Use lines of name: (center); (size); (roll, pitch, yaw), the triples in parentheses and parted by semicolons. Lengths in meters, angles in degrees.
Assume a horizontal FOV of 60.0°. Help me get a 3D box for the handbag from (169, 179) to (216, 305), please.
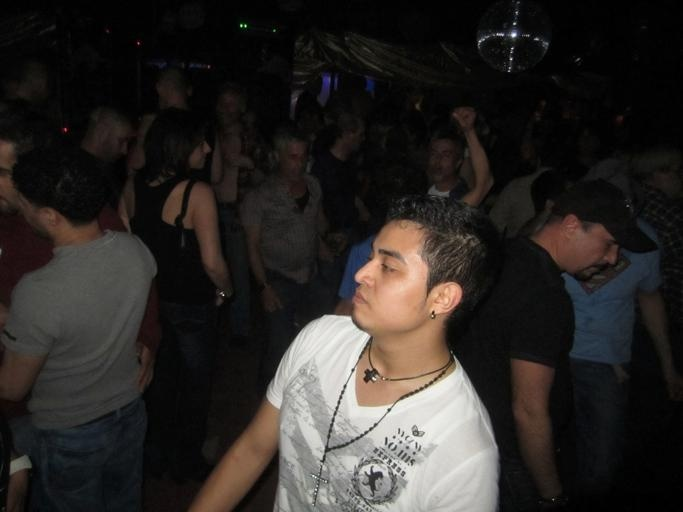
handbag: (-1.024, -0.080, 3.987); (0.307, 0.849, 0.100); (-2, 15, -17)
